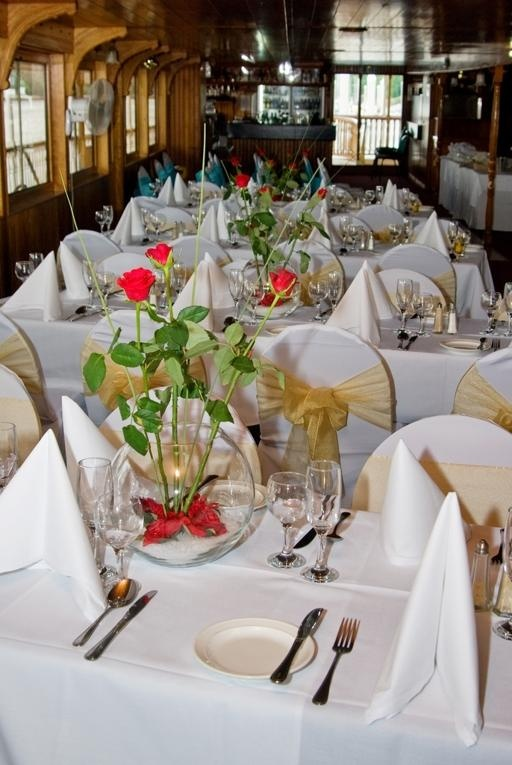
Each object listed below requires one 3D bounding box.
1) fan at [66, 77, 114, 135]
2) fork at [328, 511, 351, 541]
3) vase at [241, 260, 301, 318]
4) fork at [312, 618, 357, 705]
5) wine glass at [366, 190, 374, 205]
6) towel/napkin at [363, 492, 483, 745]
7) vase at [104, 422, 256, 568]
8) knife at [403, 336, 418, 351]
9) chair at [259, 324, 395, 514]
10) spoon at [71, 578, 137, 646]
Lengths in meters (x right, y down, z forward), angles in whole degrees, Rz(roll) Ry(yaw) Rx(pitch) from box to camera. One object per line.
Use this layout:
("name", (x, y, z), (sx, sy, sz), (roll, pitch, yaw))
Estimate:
("fan", (-1.791, -2.944, 5.651), (0.290, 0.541, 0.554), (13, 41, 9))
("fork", (0.183, 0.316, 1.184), (0.025, 0.022, 0.148), (6, 16, 16))
("vase", (0.088, -0.530, 2.999), (0.347, 0.333, 0.350), (-9, 15, -29))
("fork", (0.112, 0.367, 0.724), (0.026, 0.024, 0.204), (-8, 22, 24))
("wine glass", (1.478, -2.434, 6.887), (0.108, 0.209, 0.368), (1, 5, 15))
("towel/napkin", (0.218, 0.267, 0.652), (0.117, 0.218, 0.216), (2, 6, 25))
("vase", (-0.109, 0.238, 1.054), (0.245, 0.217, 0.252), (1, 2, 40))
("knife", (0.771, -0.207, 2.648), (0.044, 0.031, 0.204), (23, 34, 9))
("chair", (0.238, 0.108, 1.815), (0.538, 0.733, 0.258), (7, 29, 16))
("spoon", (-0.237, 0.365, 0.830), (0.037, 0.025, 0.188), (17, 18, 11))
